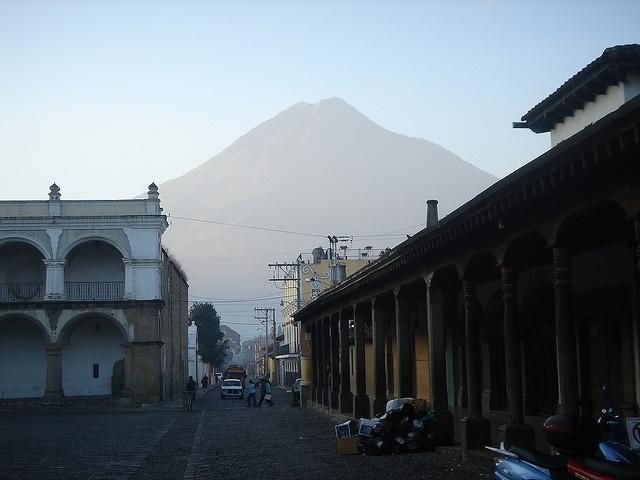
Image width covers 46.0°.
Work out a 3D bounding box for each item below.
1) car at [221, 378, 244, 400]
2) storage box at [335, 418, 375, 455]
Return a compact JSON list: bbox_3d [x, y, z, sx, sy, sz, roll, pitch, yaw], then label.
[{"bbox_3d":[-5.686,9.536,48.733,1.362,1.267,2.164,0,-15,-8],"label":"car"},{"bbox_3d":[0.802,4.433,17.294,0.687,0.616,0.755,-2,-1,4],"label":"storage box"}]
